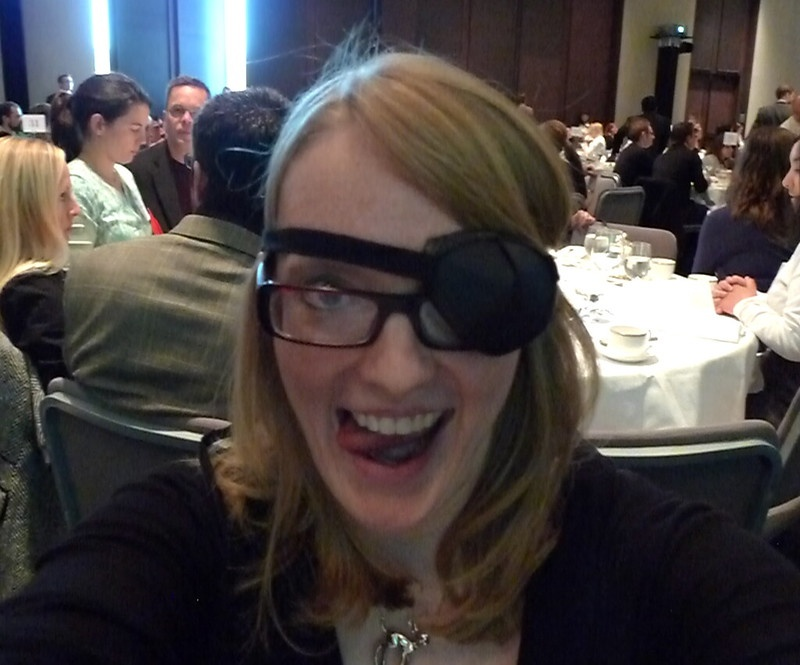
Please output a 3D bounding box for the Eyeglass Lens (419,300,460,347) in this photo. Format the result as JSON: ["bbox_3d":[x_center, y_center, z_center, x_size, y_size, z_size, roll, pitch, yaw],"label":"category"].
[{"bbox_3d":[0.044,-0.012,0.736,0.036,0.047,0.011,-43,7,1],"label":"Eyeglass Lens"}]

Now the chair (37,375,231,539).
[{"bbox_3d":[-0.458,0.197,1.235,0.183,0.348,0.253,5,25,-1],"label":"chair"}]

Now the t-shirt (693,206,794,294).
[{"bbox_3d":[1.471,-0.350,2.983,0.295,0.372,0.173,2,-14,6],"label":"t-shirt"}]

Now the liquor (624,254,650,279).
[{"bbox_3d":[0.873,-0.243,2.577,0.062,0.070,0.078,-1,10,-3],"label":"liquor"}]
